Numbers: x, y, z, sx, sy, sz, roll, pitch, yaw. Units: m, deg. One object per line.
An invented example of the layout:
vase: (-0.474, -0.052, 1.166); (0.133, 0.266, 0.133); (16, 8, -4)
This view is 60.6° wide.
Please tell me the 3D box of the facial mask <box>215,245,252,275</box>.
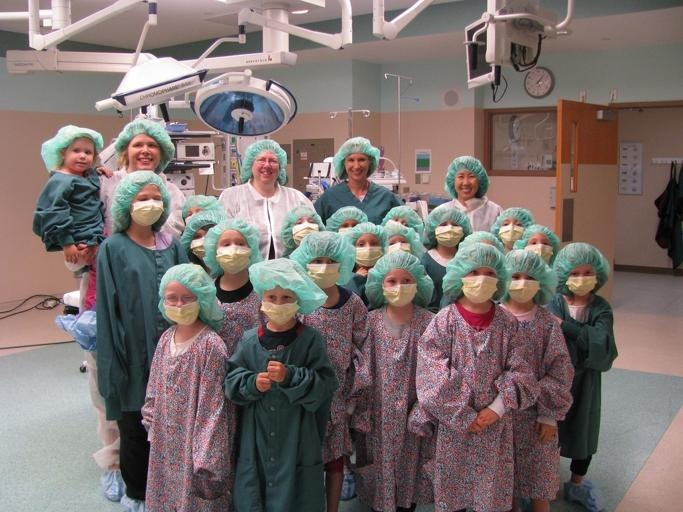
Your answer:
facial mask: (-0.510, 0.014, 2.751); (0.132, 0.113, 0.140); (-2, 5, -8)

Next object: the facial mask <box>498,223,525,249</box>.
facial mask: (1.037, -0.115, 3.537); (0.141, 0.111, 0.153); (-2, -3, 17)

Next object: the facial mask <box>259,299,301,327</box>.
facial mask: (-0.263, 0.219, 2.451); (0.118, 0.068, 0.121); (0, 14, -2)

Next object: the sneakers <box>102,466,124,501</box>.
sneakers: (-1.239, 1.225, 3.144); (0.097, 0.126, 0.219); (-8, 12, -36)

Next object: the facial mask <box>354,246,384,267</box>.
facial mask: (0.157, 0.004, 3.147); (0.155, 0.121, 0.105); (-3, 10, -7)

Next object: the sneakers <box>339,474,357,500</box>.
sneakers: (0.041, 1.231, 3.067); (0.071, 0.094, 0.209); (2, 32, 4)

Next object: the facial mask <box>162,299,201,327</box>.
facial mask: (-0.707, 0.250, 2.573); (0.168, 0.113, 0.101); (-3, 10, -7)

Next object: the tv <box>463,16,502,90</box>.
tv: (0.776, -1.143, 3.342); (0.168, 0.244, 0.251); (-11, 21, 33)

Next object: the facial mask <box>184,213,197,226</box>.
facial mask: (-0.863, -0.214, 3.350); (0.062, 0.084, 0.049); (27, 15, 33)

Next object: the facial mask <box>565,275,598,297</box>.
facial mask: (1.214, 0.143, 2.926); (0.105, 0.068, 0.115); (-2, 9, 10)

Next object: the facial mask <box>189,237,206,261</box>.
facial mask: (-0.782, -0.044, 3.185); (0.123, 0.110, 0.140); (-1, 7, -8)

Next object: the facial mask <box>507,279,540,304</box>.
facial mask: (0.838, 0.154, 2.661); (0.112, 0.086, 0.118); (0, 3, 9)

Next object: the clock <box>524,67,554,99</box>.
clock: (2.547, -2.244, 7.447); (0.378, 0.419, 0.447); (2, 10, 18)

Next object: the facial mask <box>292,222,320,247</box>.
facial mask: (-0.206, -0.138, 3.351); (0.124, 0.101, 0.128); (-14, -28, -12)

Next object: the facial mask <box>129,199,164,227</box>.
facial mask: (-0.936, -0.214, 2.830); (0.121, 0.087, 0.135); (-5, 18, -33)
